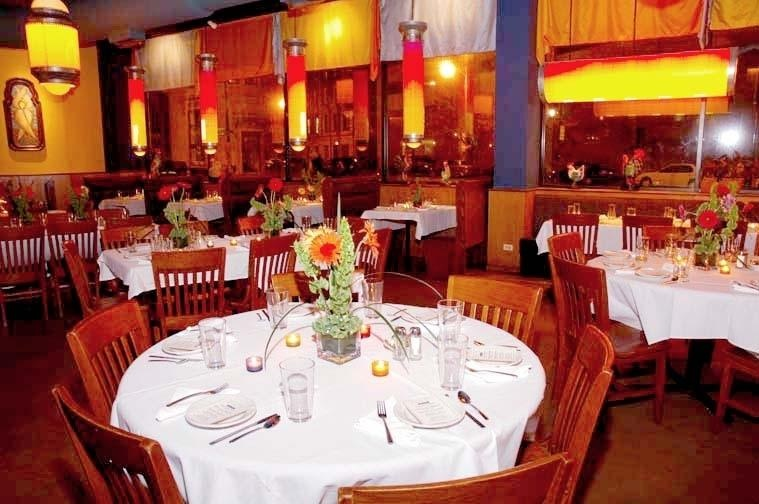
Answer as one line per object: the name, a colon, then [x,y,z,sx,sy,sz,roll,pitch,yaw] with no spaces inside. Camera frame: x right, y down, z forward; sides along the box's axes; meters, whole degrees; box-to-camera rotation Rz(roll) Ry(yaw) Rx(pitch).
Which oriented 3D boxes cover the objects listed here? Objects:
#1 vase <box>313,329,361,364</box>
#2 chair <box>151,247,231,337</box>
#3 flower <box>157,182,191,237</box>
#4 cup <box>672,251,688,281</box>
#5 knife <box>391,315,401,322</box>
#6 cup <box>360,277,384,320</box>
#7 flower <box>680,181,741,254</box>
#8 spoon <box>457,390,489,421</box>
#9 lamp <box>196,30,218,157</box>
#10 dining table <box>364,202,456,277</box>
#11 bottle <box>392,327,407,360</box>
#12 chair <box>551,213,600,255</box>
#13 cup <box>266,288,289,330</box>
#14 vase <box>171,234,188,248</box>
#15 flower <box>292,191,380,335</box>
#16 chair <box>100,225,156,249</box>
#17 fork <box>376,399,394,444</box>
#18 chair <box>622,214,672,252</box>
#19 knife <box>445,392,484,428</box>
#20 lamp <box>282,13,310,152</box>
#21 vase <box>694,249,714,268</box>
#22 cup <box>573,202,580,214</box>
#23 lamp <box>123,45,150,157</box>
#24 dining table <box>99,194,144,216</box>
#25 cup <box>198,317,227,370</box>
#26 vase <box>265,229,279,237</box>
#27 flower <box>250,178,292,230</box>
vase: [-0.230,0.515,3.042,0.211,0.172,0.219,-1,1,3]
chair: [-1.502,0.309,4.339,0.468,0.879,0.525,-6,38,-21]
flower: [-1.825,-0.301,5.014,0.161,0.356,0.146,0,-19,-3]
cup: [2.414,0.085,4.406,0.140,0.243,0.144,-3,10,1]
knife: [0.101,0.411,3.392,0.040,0.013,0.094,2,11,35]
cup: [-0.041,0.280,3.401,0.186,0.314,0.200,-1,8,0]
flower: [2.685,-0.253,4.401,0.298,0.585,0.442,2,11,32]
spoon: [0.439,0.737,2.635,0.053,0.035,0.229,-7,22,-18]
lamp: [-2.305,-2.013,7.464,0.286,1.290,0.568,-7,10,-19]
dining table: [0.458,-0.230,8.288,1.036,0.941,1.436,8,13,23]
bottle: [0.099,0.500,3.016,0.076,0.201,0.078,4,15,-1]
chair: [2.063,-0.188,5.764,0.292,0.553,0.341,7,35,26]
cup: [-0.602,0.337,3.273,0.119,0.246,0.101,-6,10,-15]
vase: [-1.806,-0.094,4.944,0.100,0.068,0.104,-1,6,-6]
flower: [-0.282,0.125,2.951,0.315,0.699,0.308,-2,-7,15]
chair: [-2.619,-0.166,5.690,0.375,0.190,0.494,2,6,17]
fork: [0.020,0.785,2.543,0.036,0.038,0.267,6,30,-14]
chair: [2.670,-0.183,5.525,0.257,0.479,0.289,14,25,40]
knife: [0.428,0.761,2.611,0.041,0.031,0.217,-21,15,-9]
lamp: [-1.002,-1.869,6.555,0.354,1.280,0.341,-6,11,-45]
vase: [2.646,0.037,4.521,0.139,0.161,0.143,13,21,41]
cup: [2.639,-0.584,7.377,0.076,0.138,0.509,0,10,21]
lamp: [-3.731,-2.203,8.500,0.297,1.321,0.536,-8,10,-24]
dining table: [-4.425,-0.787,9.503,0.695,0.319,0.861,-9,11,-27]
cup: [-0.906,0.494,2.985,0.170,0.184,0.280,-11,53,-10]
vase: [-1.067,-0.185,5.442,0.090,0.072,0.082,1,3,14]
flower: [-1.190,-0.529,6.065,0.464,0.532,0.462,16,12,37]
